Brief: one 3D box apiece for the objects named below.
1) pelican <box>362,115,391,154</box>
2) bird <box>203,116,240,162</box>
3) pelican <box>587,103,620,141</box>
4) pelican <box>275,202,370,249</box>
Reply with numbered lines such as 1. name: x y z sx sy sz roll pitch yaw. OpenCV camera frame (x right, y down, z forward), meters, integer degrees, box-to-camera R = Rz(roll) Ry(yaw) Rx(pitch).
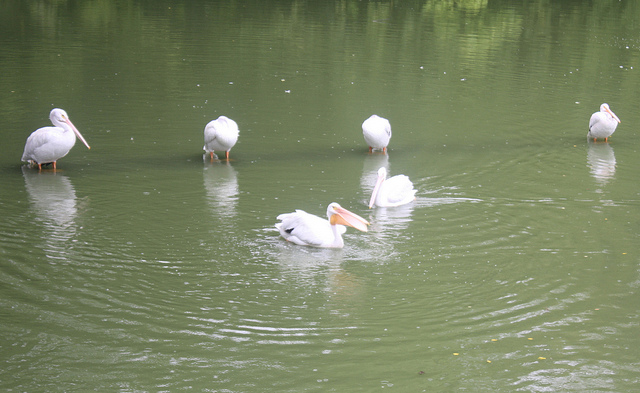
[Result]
1. pelican: 2.038 -2.237 28.425 0.931 1.145 0.510 -3 14 2
2. bird: -3.430 -1.949 27.533 1.005 1.558 0.747 7 17 37
3. pelican: 10.866 -2.756 30.439 1.183 1.254 1.965 4 2 -6
4. pelican: 0.083 0.869 23.012 2.638 1.050 1.182 13 26 10
